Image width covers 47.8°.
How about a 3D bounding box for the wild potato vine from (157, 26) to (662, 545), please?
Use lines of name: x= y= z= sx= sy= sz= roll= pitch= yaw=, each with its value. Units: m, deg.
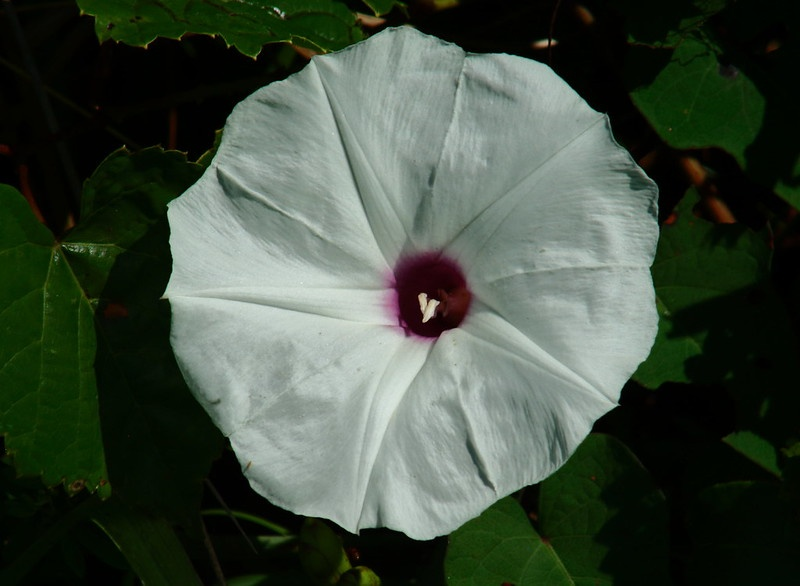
wild potato vine: x=0.034 y=-0.042 z=3.722 sx=1.942 sy=0.611 sz=1.875 roll=-27 pitch=84 yaw=-2
